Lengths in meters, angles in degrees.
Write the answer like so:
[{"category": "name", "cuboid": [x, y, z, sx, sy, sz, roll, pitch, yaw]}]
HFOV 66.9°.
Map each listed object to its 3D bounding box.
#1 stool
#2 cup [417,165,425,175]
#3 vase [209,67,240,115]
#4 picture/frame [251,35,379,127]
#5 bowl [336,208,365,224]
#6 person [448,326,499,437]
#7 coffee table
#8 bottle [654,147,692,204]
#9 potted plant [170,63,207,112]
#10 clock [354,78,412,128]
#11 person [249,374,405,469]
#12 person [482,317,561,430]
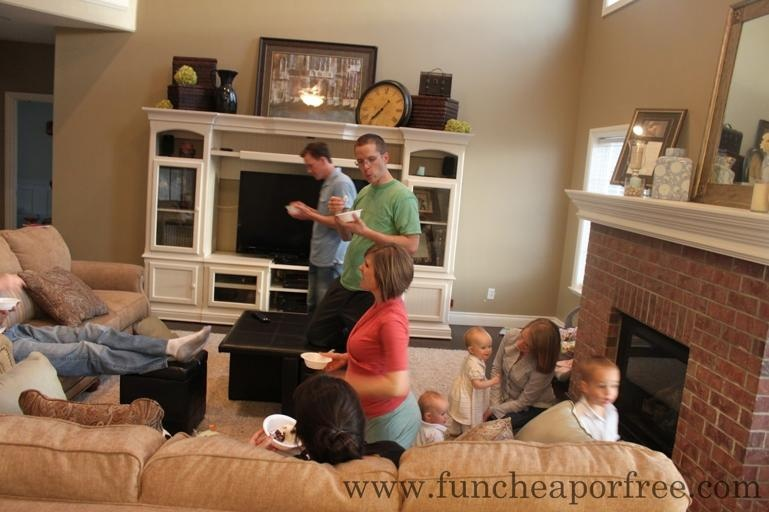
[{"category": "stool", "cuboid": [-1.377, 0.860, 4.086, 0.619, 0.632, 0.604, 2, 7, 10]}, {"category": "cup", "cuboid": [0.390, -0.897, 6.043, 0.079, 0.089, 0.094, 4, 2, 42]}, {"category": "vase", "cuboid": [-1.622, -1.684, 5.946, 0.245, 0.470, 0.356, 3, 6, -16]}, {"category": "picture/frame", "cuboid": [-0.767, -1.829, 6.080, 1.007, 0.716, 0.077, 2, 1, -4]}, {"category": "bowl", "cuboid": [-0.244, -0.273, 3.956, 0.160, 0.092, 0.104, 4, 6, -10]}, {"category": "person", "cuboid": [0.637, 0.909, 4.163, 0.361, 0.977, 0.409, -3, 25, -7]}, {"category": "coffee table", "cuboid": [-0.860, 0.698, 4.402, 0.673, 0.407, 0.649, 2, 15, 1]}, {"category": "bottle", "cuboid": [2.042, -0.558, 4.119, 0.229, 0.307, 0.090, 7, 6, 20]}, {"category": "potted plant", "cuboid": [-2.003, -1.687, 5.897, 0.304, 0.415, 0.261, 10, 8, 39]}, {"category": "clock", "cuboid": [0.006, -1.556, 5.974, 0.523, 0.498, 0.123, 1, 2, 21]}, {"category": "person", "cuboid": [-0.241, 0.777, 2.737, 0.535, 0.423, 0.918, -14, -9, -9]}, {"category": "person", "cuboid": [0.954, 0.828, 4.013, 0.486, 0.835, 0.349, -15, 35, -23]}]
